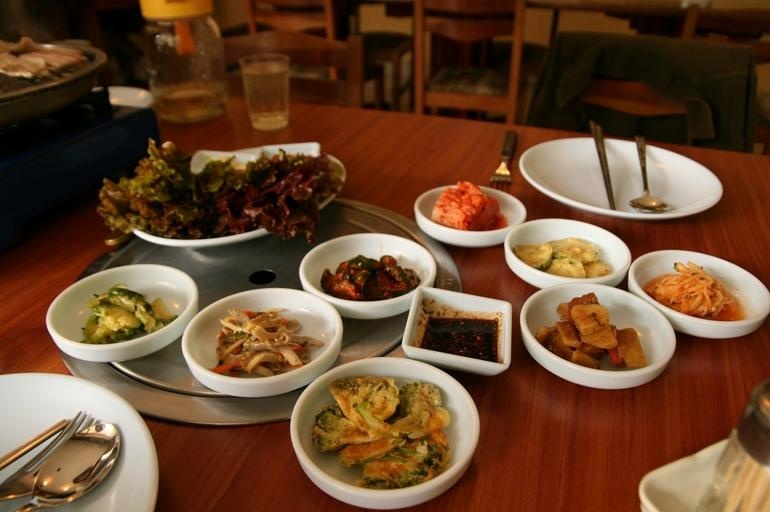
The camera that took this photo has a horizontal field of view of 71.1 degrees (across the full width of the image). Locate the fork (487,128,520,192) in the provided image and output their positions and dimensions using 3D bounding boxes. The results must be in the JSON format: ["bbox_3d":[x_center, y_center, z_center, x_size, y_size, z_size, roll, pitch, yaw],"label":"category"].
[{"bbox_3d":[0.376,-0.309,1.722,0.054,0.050,0.420,11,35,11],"label":"fork"}]
